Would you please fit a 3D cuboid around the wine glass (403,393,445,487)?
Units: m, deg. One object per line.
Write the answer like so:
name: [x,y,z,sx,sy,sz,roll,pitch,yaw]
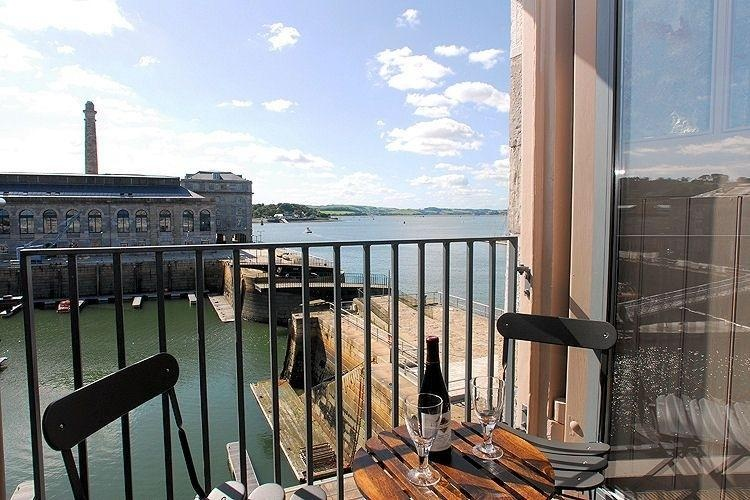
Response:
wine glass: [0.210,0.820,2.271,0.162,0.373,0.195,-2,2,-4]
